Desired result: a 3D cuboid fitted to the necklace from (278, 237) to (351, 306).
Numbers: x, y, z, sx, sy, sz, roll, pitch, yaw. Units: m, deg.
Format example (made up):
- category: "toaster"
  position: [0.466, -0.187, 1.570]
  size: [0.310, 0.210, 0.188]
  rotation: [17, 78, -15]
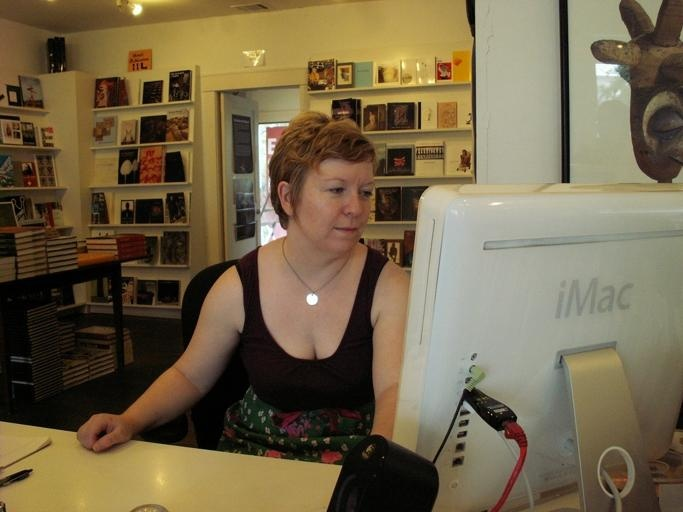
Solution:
- category: "necklace"
  position: [-0.075, 0.034, 1.516]
  size: [0.156, 0.227, 0.005]
  rotation: [8, 26, 9]
